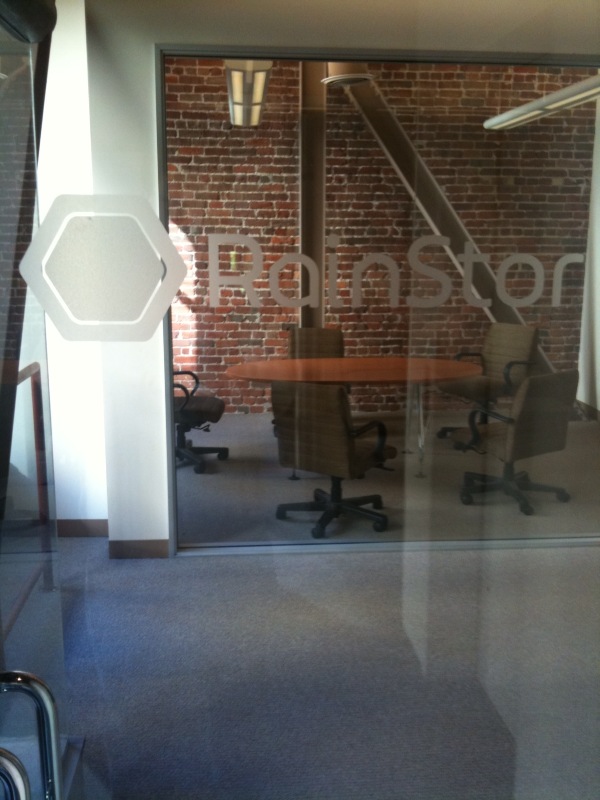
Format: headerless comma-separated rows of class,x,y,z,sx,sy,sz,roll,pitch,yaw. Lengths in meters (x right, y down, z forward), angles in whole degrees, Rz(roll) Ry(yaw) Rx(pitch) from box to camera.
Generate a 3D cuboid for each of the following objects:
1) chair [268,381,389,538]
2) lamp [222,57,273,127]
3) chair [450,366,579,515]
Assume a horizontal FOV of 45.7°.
chair,0.059,0.091,1.205,0.191,0.258,0.184,6,14,36
lamp,-0.073,-0.446,1.013,0.087,0.099,0.082,-6,24,-22
chair,0.383,0.065,1.277,0.203,0.241,0.203,1,13,-3
